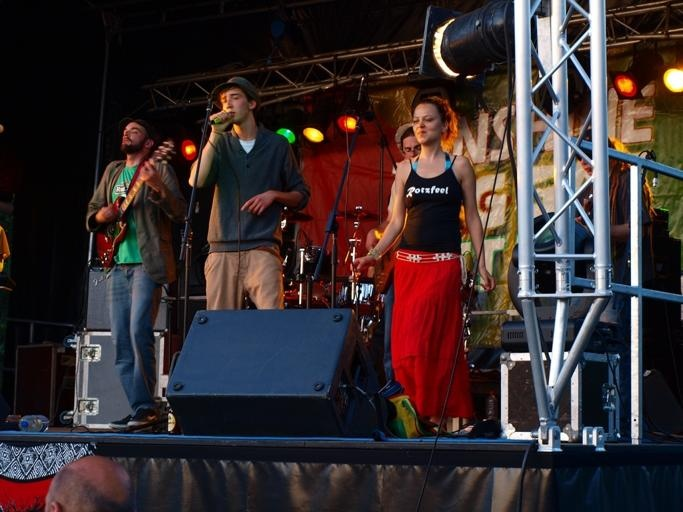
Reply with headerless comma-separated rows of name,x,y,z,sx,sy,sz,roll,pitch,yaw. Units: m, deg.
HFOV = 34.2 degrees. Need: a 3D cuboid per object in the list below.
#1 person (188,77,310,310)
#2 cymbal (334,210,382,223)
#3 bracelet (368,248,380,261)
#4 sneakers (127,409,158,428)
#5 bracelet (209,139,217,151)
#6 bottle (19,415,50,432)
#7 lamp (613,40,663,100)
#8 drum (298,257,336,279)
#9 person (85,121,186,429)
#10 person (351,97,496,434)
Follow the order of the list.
person,-0.586,-0.406,7.052,0.728,1.490,0.383,1,-10,-7
cymbal,0.166,-0.395,10.808,0.239,0.065,0.252,-4,-9,35
bracelet,0.209,-0.014,7.261,0.047,0.085,0.078,0,11,33
sneakers,-1.272,1.052,7.135,0.172,0.085,0.096,0,-9,-6
bracelet,-0.807,-0.707,7.012,0.033,0.070,0.073,-6,-13,32
bottle,-1.770,0.974,6.474,0.127,0.077,0.091,2,-2,26
lamp,2.818,-1.766,10.556,0.483,0.491,0.215,-5,-12,24
drum,-0.230,0.096,10.103,0.281,0.297,0.225,5,-9,-6
person,-1.337,0.080,7.360,0.546,2.131,0.985,5,-12,-27
person,0.577,-0.022,7.113,0.771,2.217,0.574,-7,-13,36
